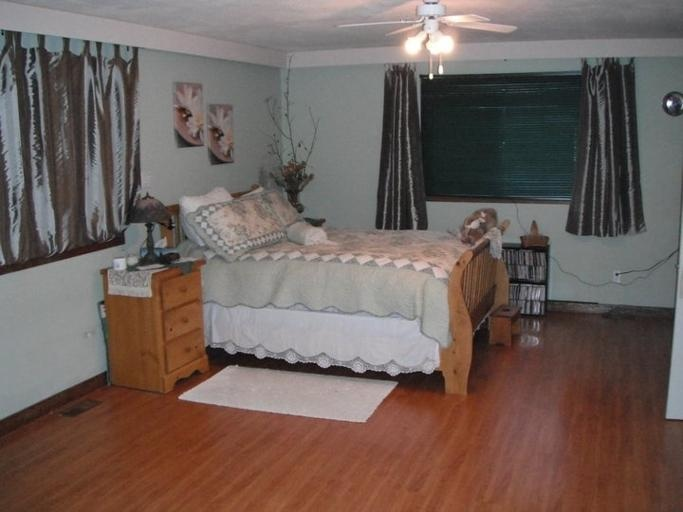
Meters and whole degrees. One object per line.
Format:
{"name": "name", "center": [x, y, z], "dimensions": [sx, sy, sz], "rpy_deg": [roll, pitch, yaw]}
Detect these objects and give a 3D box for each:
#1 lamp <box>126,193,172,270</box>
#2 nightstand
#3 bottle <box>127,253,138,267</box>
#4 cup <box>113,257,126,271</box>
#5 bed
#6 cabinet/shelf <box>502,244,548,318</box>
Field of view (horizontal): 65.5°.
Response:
{"name": "lamp", "center": [-1.637, -0.227, 4.523], "dimensions": [0.351, 0.554, 0.365], "rpy_deg": [-4, 3, -17]}
{"name": "nightstand", "center": [-1.601, 0.604, 4.669], "dimensions": [0.671, 0.997, 0.766], "rpy_deg": [3, 9, 35]}
{"name": "bottle", "center": [-1.749, 0.034, 4.441], "dimensions": [0.074, 0.094, 0.100], "rpy_deg": [1, -4, 15]}
{"name": "cup", "center": [-1.823, 0.062, 4.355], "dimensions": [0.146, 0.088, 0.091], "rpy_deg": [2, 14, 19]}
{"name": "bed", "center": [0.070, 0.315, 4.861], "dimensions": [2.181, 1.046, 1.881], "rpy_deg": [2, 15, 13]}
{"name": "cabinet/shelf", "center": [2.017, 0.320, 6.152], "dimensions": [0.753, 0.798, 0.292], "rpy_deg": [3, -8, -31]}
